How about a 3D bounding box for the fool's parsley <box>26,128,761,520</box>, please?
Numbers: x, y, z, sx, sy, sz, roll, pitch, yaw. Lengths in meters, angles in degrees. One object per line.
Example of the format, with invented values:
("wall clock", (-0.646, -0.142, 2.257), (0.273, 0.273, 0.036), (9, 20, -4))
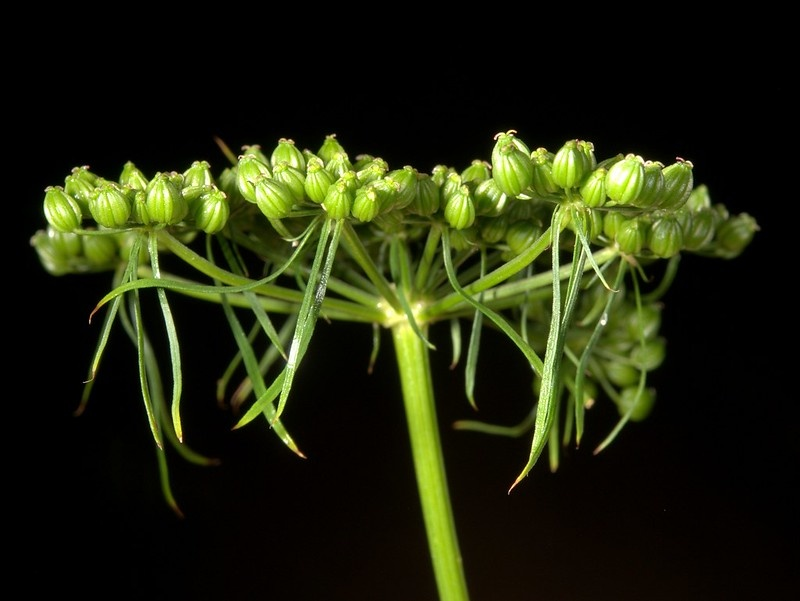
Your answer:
("fool's parsley", (0.009, -0.039, 1.353), (0.766, 0.474, 0.789), (-1, 1, -26))
